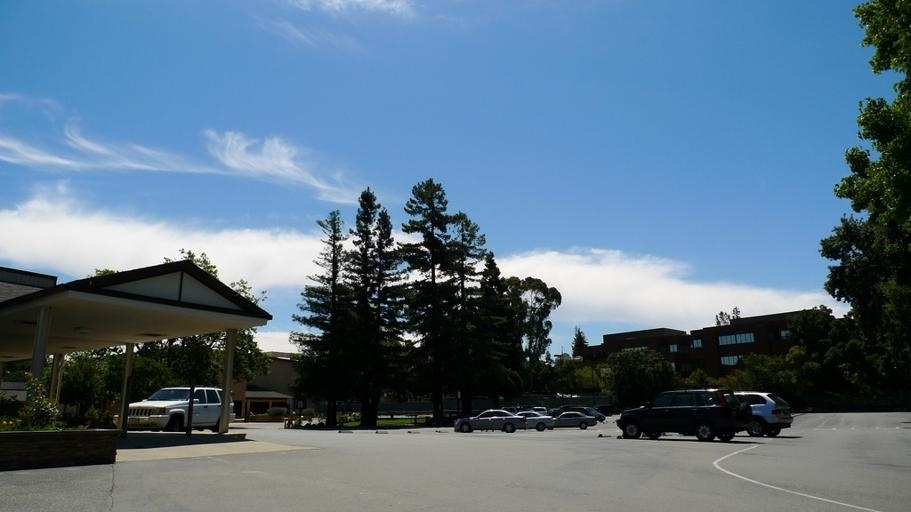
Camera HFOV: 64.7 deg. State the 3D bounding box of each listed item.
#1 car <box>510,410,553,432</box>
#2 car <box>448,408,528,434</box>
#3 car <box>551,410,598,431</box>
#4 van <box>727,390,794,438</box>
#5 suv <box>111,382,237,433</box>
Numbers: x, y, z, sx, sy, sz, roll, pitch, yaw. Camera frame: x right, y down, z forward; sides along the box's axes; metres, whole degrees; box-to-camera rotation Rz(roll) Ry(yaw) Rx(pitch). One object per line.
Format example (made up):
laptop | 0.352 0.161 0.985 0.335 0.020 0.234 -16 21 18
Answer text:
car | 6.201 12.834 56.031 2.983 0.955 1.361 3 -12 0
car | 2.602 12.607 54.670 4.836 1.554 2.045 2 -14 1
car | 10.179 14.073 61.367 3.530 1.145 1.615 1 -8 6
van | 18.898 9.586 43.545 4.883 2.031 2.308 -2 -12 20
suv | -16.766 9.113 42.968 4.936 2.773 1.838 5 -18 -19
